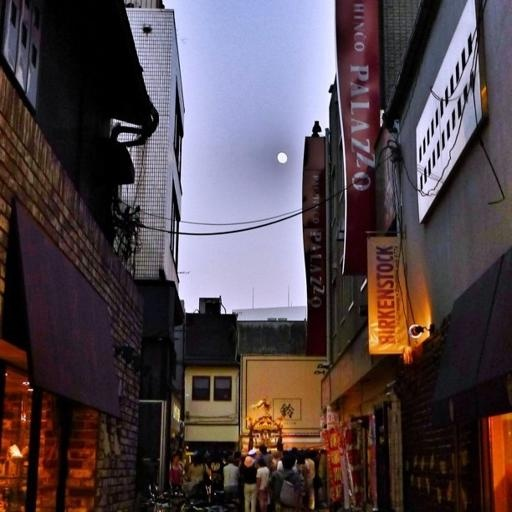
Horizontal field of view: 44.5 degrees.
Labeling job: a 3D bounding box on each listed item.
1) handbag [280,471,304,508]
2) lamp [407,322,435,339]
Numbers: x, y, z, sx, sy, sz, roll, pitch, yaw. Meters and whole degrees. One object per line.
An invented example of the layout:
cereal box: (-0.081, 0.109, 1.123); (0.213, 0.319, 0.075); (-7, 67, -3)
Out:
handbag: (0.759, 4.987, 13.445); (0.560, 0.761, 0.596); (11, -28, -21)
lamp: (2.422, 1.116, 9.287); (0.263, 0.313, 0.199); (-3, 5, 9)
